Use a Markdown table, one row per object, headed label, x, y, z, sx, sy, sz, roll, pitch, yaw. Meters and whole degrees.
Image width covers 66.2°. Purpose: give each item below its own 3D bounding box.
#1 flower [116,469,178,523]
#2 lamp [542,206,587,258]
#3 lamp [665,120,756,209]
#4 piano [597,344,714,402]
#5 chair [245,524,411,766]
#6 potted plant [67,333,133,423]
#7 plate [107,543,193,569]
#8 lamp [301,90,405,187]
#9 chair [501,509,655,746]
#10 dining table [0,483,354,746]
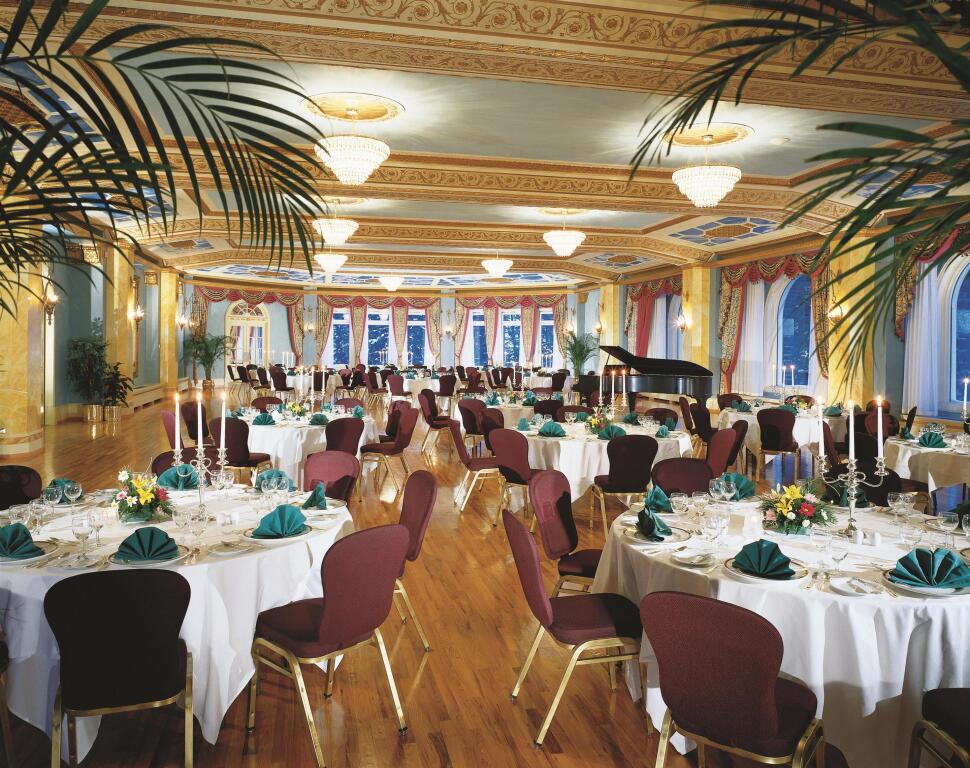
| label | x | y | z | sx | sy | sz | roll | pitch | yaw |
| --- | --- | --- | --- | --- | --- | --- | --- | --- | --- |
| flower | -1.918 | 0.648 | 4.238 | 0.298 | 0.227 | 0.307 | 3 | 6 | 15 |
| lamp | 1.189 | -2.294 | 11.452 | 0.711 | 0.798 | 0.681 | 3 | 25 | 8 |
| lamp | 2.219 | -2.227 | 7.617 | 0.907 | 0.748 | 0.867 | -4 | 6 | -32 |
| piano | 2.501 | -0.044 | 11.088 | 1.662 | 0.964 | 1.188 | 1 | -8 | 7 |
| chair | -0.774 | 1.226 | 3.745 | 0.718 | 1.139 | 0.604 | 4 | 3 | 33 |
| potted plant | -6.670 | -0.155 | 12.991 | 0.920 | 1.459 | 0.703 | 1 | 3 | -19 |
| plate | -1.572 | 0.838 | 3.587 | 0.371 | 0.056 | 0.342 | 3 | 2 | 38 |
| lamp | -1.228 | -2.370 | 7.025 | 0.584 | 0.428 | 0.604 | 11 | 12 | 38 |
| chair | 0.479 | 1.223 | 3.936 | 0.715 | 1.081 | 0.606 | -4 | 3 | -11 |
| dining table | -1.568 | 1.024 | 4.064 | 1.465 | 0.681 | 1.433 | 1 | -1 | 0 |
